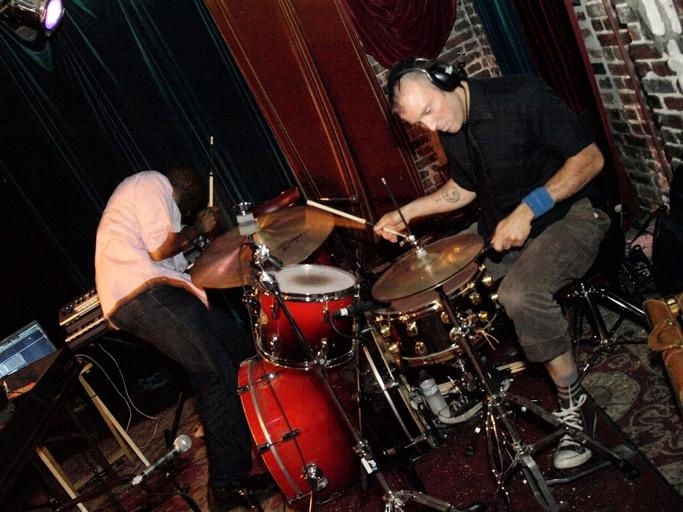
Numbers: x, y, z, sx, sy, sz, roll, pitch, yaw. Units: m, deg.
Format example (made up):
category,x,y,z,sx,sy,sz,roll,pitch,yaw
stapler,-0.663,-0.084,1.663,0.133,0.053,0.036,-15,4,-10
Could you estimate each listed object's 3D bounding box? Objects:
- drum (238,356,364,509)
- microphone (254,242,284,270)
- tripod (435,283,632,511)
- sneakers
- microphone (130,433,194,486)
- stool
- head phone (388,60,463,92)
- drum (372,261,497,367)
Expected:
category,x,y,z,sx,sy,sz,roll,pitch,yaw
drum,-0.199,0.968,2.860,0.401,0.719,0.725,-28,49,6
microphone,-0.345,-0.002,2.471,0.090,0.163,0.088,-21,16,11
tripod,0.895,0.617,2.518,0.628,1.207,0.522,-18,17,19
sneakers,1.219,0.878,2.819,0.182,0.302,0.517,-36,0,24
microphone,-0.896,1.026,2.605,0.308,0.211,0.156,-29,17,-16
stool,1.590,0.293,3.216,0.430,0.441,0.664,-15,36,16
head phone,0.462,-1.045,2.859,0.399,0.168,0.437,9,22,10
drum,0.486,0.343,2.820,0.584,0.254,0.602,-25,15,7
